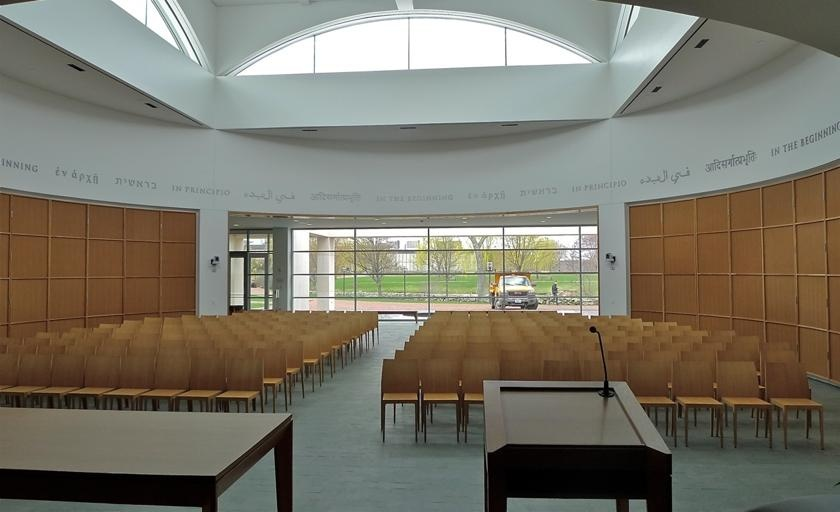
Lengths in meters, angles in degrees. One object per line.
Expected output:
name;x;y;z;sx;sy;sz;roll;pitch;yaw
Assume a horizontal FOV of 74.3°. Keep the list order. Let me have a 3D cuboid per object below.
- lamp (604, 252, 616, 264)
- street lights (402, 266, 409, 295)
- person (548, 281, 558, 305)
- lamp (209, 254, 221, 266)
lamp;6.206;0.087;18.153;0.275;0.319;0.387;-3;-20;26
street lights;-0.656;1.101;24.415;0.229;1.119;0.158;-1;-5;-4
person;5.737;1.578;23.719;0.327;0.914;0.113;-2;-5;12
lamp;-7.121;0.156;19.357;0.343;0.418;0.315;-3;-2;22
